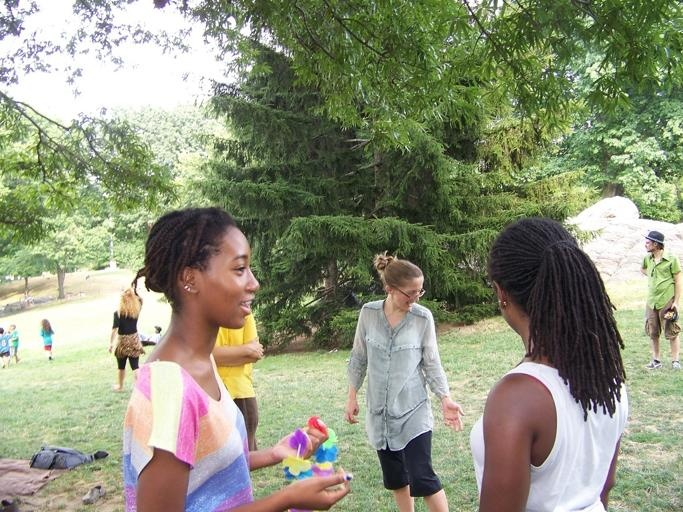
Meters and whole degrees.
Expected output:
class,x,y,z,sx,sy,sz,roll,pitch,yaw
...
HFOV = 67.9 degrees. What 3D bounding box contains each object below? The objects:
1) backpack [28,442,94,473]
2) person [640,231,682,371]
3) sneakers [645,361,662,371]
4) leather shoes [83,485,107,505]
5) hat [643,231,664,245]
class,x,y,z,sx,sy,sz,roll,pitch,yaw
backpack,-3.835,2.737,6.871,0.490,0.178,0.363,5,-7,-5
person,5.810,0.762,9.149,0.585,2.669,0.745,-3,-2,31
sneakers,5.585,1.963,9.109,0.306,0.153,0.126,0,3,-6
leather shoes,-2.892,2.778,5.907,0.123,0.069,0.198,6,4,-3
hat,5.630,-0.325,9.087,0.275,0.107,0.262,25,8,25
